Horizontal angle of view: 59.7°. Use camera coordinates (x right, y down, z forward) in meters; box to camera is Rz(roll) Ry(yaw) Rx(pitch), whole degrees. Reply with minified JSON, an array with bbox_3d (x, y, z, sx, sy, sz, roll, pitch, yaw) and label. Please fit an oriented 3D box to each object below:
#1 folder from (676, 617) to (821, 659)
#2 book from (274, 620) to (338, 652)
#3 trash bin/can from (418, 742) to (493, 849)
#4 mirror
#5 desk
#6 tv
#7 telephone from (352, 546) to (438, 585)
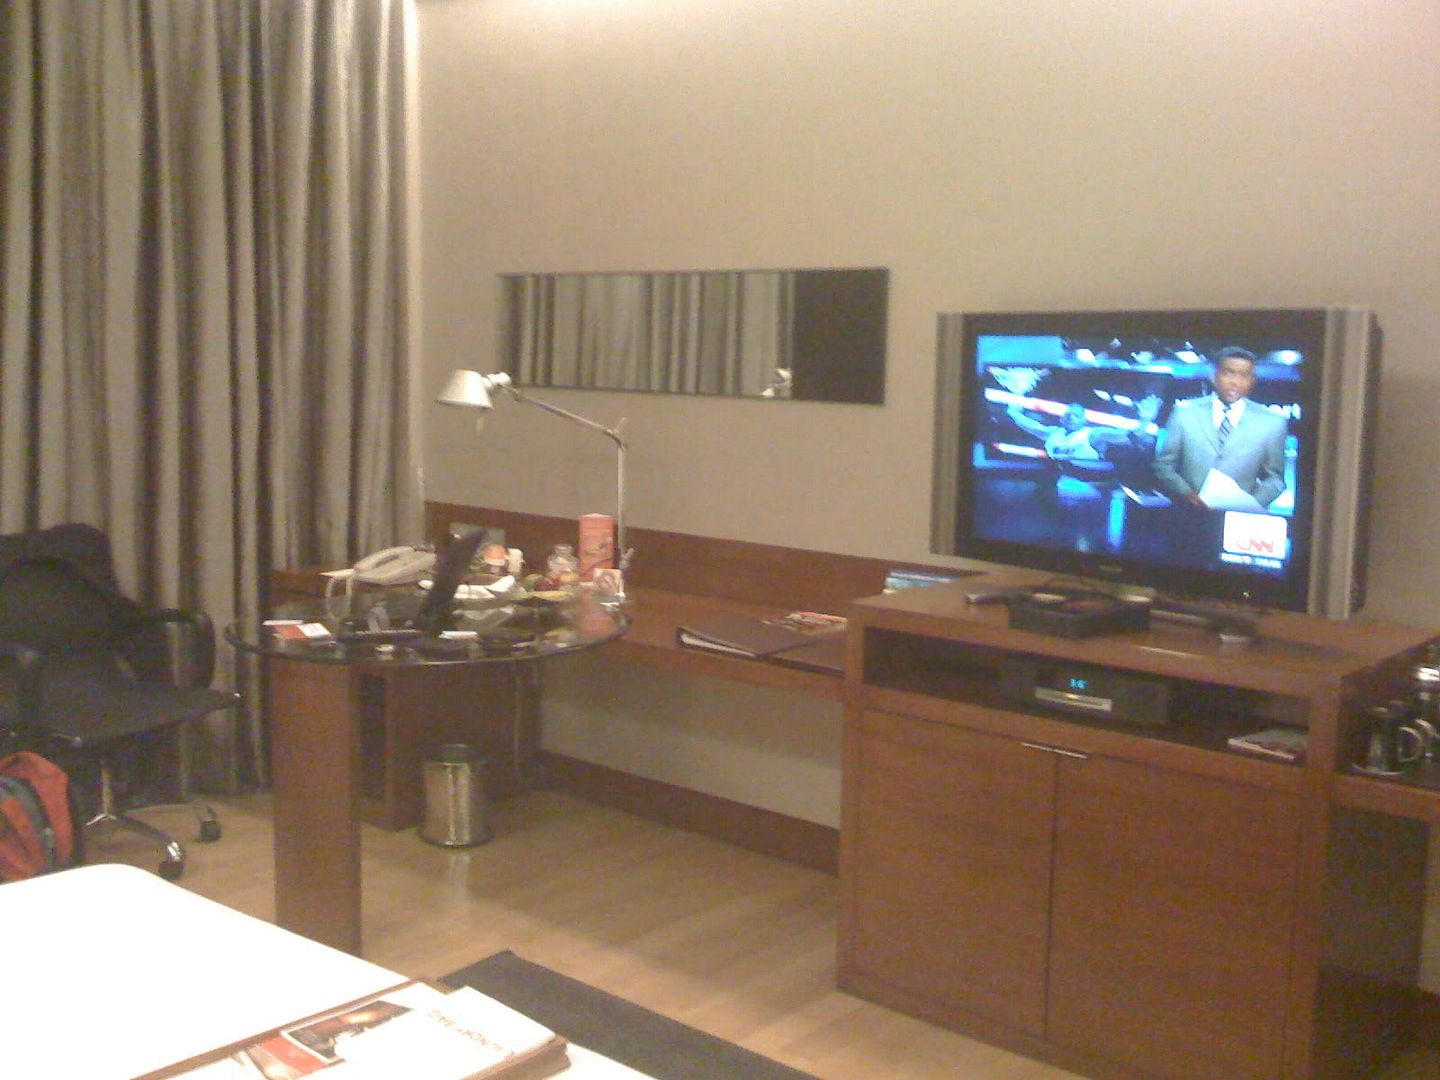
[{"bbox_3d":[0.090,0.264,3.530,0.339,0.045,0.304,8,14,32],"label":"folder"},{"bbox_3d":[-1.085,0.243,3.235,0.101,0.020,0.097,-1,14,-30],"label":"book"},{"bbox_3d":[-0.841,0.838,4.151,0.317,0.266,0.301,0,7,-7],"label":"trash bin/can"},{"bbox_3d":[-0.116,-0.666,4.027,1.423,0.368,0.034,-4,19,-27],"label":"mirror"},{"bbox_3d":[-0.825,0.476,3.753,1.136,0.559,0.990,2,4,10],"label":"desk"},{"bbox_3d":[1.071,-0.151,2.969,0.980,0.523,0.129,8,12,38],"label":"tv"},{"bbox_3d":[-1.030,0.088,3.976,0.245,0.087,0.229,-3,13,-17],"label":"telephone"}]
